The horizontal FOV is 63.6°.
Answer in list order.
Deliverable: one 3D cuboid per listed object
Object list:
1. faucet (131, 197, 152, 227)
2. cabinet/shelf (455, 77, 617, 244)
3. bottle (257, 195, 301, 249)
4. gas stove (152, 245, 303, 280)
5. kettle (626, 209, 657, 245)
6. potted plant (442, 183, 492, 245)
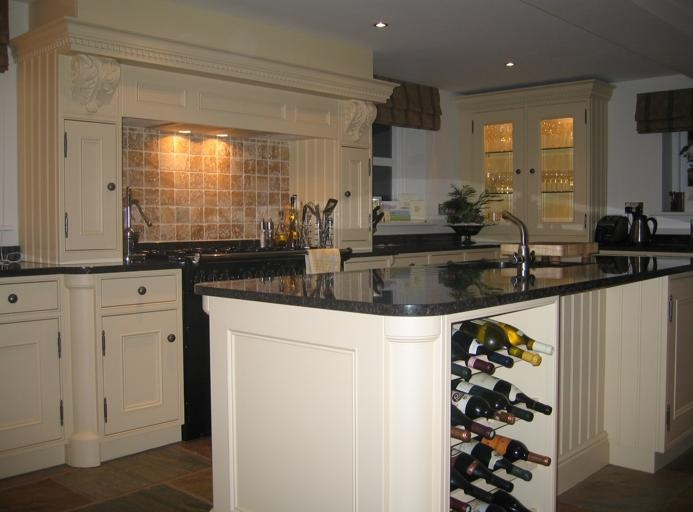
[{"bbox_3d":[-1.508,-0.312,4.125,0.145,0.219,0.314,-2,8,-20],"label":"faucet"},{"bbox_3d":[2.175,-1.072,6.199,1.777,2.256,0.551,0,0,37],"label":"cabinet/shelf"},{"bbox_3d":[-0.591,-0.320,4.970,0.366,0.452,0.371,0,7,-8],"label":"bottle"},{"bbox_3d":[-0.708,0.065,4.029,0.133,0.227,1.075,6,9,39],"label":"gas stove"},{"bbox_3d":[3.144,-0.291,5.860,0.386,0.414,0.276,-1,1,-20],"label":"kettle"},{"bbox_3d":[1.299,-0.474,6.551,0.598,0.749,0.710,1,0,33],"label":"potted plant"}]
